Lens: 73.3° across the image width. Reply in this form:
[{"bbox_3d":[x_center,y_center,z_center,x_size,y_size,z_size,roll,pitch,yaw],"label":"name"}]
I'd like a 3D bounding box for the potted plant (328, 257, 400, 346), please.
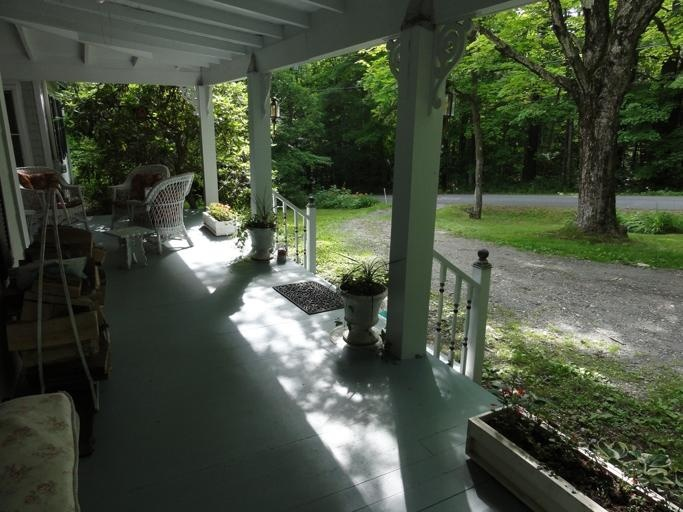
[{"bbox_3d":[0.145,0.388,4.302,0.781,0.837,0.524,0,11,-6],"label":"potted plant"}]

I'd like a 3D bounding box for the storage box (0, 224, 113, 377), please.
[{"bbox_3d":[-1.779,0.261,3.010,0.703,1.042,0.377,-8,-17,-4],"label":"storage box"}]

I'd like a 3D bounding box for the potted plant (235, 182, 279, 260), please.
[{"bbox_3d":[-1.135,-0.396,6.219,0.522,0.910,0.603,0,11,-9],"label":"potted plant"}]

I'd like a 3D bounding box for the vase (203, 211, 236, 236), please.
[{"bbox_3d":[-1.945,-0.630,7.360,0.395,0.285,0.861,-4,16,-22],"label":"vase"}]

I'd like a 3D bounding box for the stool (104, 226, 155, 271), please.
[{"bbox_3d":[-2.699,-0.141,5.940,0.652,0.596,0.635,-2,5,-24],"label":"stool"}]
